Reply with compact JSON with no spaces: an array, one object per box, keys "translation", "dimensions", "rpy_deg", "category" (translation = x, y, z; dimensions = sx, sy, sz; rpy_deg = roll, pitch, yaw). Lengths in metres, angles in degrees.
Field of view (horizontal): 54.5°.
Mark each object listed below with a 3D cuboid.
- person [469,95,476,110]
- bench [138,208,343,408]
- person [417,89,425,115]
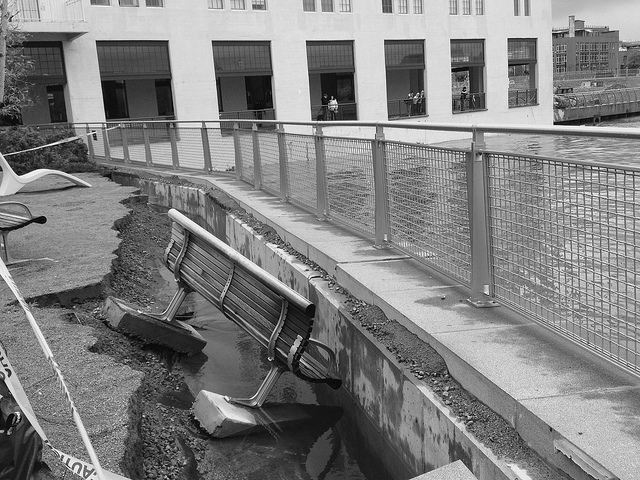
[{"translation":[10.480,-9.548,42.720],"dimensions":[0.331,0.880,0.712],"rpy_deg":[6,18,28],"category":"person"},{"translation":[-0.814,0.612,5.844],"dimensions":[0.778,1.403,2.307],"rpy_deg":[-16,20,-37],"category":"bench"},{"translation":[6.377,-8.807,39.642],"dimensions":[0.399,1.381,0.649],"rpy_deg":[0,17,11],"category":"person"}]
